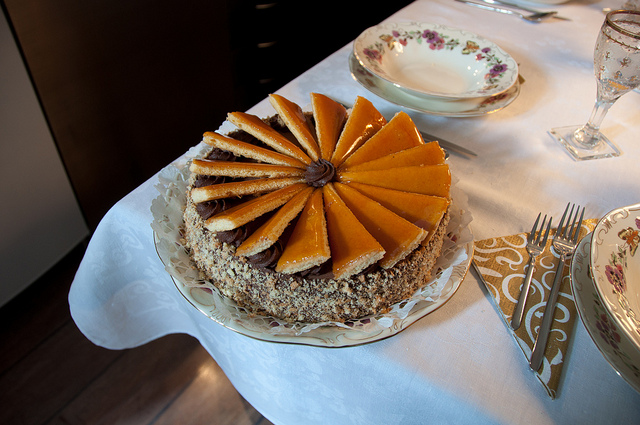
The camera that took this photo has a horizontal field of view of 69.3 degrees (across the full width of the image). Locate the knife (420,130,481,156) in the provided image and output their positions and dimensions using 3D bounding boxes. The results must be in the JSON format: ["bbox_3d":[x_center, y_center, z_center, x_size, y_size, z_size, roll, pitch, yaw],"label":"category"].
[{"bbox_3d":[0.397,-0.211,1.404,0.177,0.008,0.021,35,61,7],"label":"knife"}]

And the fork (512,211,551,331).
[{"bbox_3d":[0.540,0.162,1.184,0.038,0.034,0.305,7,62,34],"label":"fork"}]

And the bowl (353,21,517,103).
[{"bbox_3d":[0.422,-0.541,1.617,0.359,0.105,0.433,22,43,22],"label":"bowl"}]

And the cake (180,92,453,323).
[{"bbox_3d":[-0.005,-0.036,1.242,0.694,0.300,0.591,11,48,0],"label":"cake"}]

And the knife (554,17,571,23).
[{"bbox_3d":[1.022,-0.822,1.946,0.034,0.011,0.037,24,51,27],"label":"knife"}]

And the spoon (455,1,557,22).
[{"bbox_3d":[0.782,-0.856,1.961,0.290,0.045,0.043,17,39,11],"label":"spoon"}]

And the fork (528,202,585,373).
[{"bbox_3d":[0.587,0.203,1.149,0.047,0.046,0.421,7,66,45],"label":"fork"}]

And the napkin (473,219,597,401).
[{"bbox_3d":[0.532,0.223,1.152,0.343,0.024,0.317,-33,31,-18],"label":"napkin"}]
